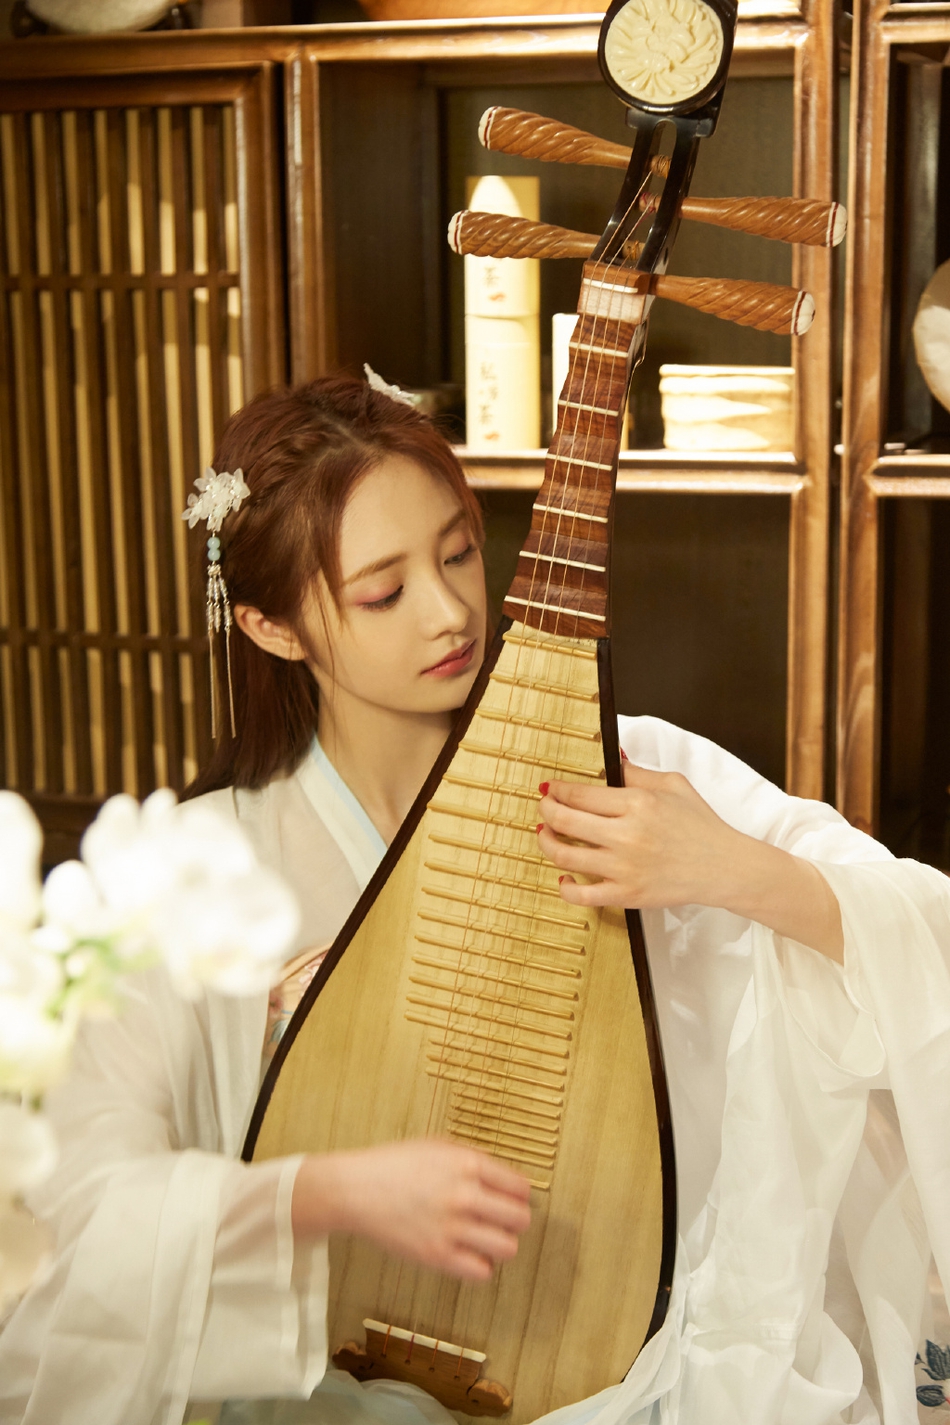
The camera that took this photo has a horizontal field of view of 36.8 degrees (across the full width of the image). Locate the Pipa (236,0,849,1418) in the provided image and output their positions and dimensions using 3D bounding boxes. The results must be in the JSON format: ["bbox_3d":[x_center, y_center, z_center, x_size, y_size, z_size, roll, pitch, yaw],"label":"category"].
[{"bbox_3d":[0.047,0.044,0.949,0.370,0.931,0.134,9,0,7],"label":"Pipa"}]
